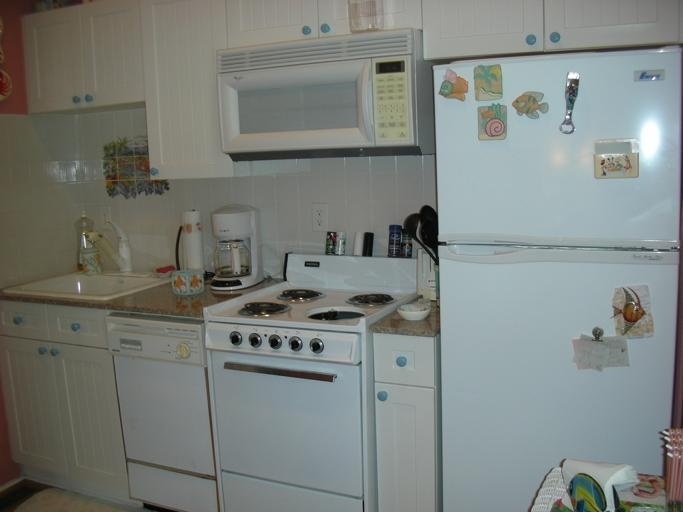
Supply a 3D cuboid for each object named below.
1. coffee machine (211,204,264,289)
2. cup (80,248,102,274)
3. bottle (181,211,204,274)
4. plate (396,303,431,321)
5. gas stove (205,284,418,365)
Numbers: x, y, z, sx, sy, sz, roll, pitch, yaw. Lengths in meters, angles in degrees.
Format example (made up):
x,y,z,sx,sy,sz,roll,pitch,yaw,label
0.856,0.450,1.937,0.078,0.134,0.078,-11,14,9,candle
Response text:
x,y,z,sx,sy,sz,roll,pitch,yaw,label
-0.588,-0.056,2.988,0.238,0.447,0.327,2,7,36,coffee machine
-1.570,0.027,3.375,0.111,0.152,0.062,-4,9,-10,cup
-0.866,-0.095,3.144,0.127,0.335,0.217,-5,9,-15,bottle
0.327,0.246,2.426,0.138,0.048,0.163,0,10,13,plate
-0.113,0.331,2.734,0.804,0.247,0.912,2,7,17,gas stove
